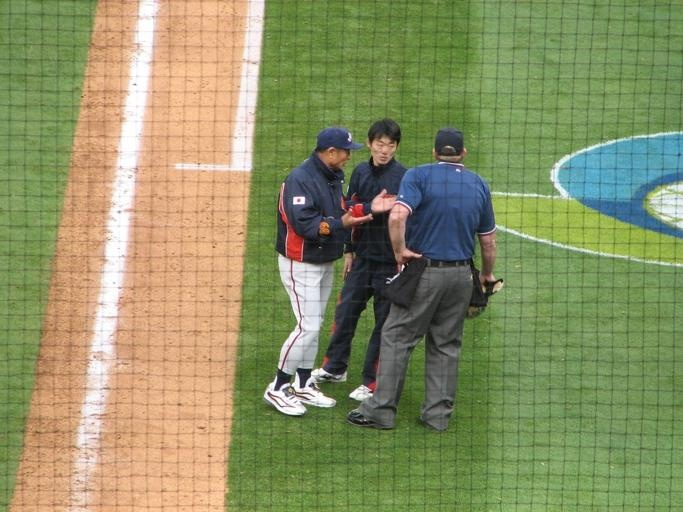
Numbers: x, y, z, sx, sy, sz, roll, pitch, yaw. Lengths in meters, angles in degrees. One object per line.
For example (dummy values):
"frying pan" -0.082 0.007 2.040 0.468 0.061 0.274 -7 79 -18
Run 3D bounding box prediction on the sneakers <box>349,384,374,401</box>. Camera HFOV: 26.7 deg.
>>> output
"sneakers" 0.205 1.454 15.282 0.310 0.121 0.121 -4 5 6

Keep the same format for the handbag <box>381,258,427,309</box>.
"handbag" 0.645 0.269 14.671 0.187 0.502 0.407 32 -5 -33

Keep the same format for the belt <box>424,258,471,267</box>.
"belt" 1.107 0.076 14.664 0.476 0.097 0.054 4 5 -17

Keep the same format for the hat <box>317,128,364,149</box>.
"hat" -0.033 -1.212 14.934 0.409 0.173 0.239 -2 15 -4

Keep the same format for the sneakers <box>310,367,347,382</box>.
"sneakers" -0.150 1.296 15.537 0.414 0.157 0.139 1 45 -6

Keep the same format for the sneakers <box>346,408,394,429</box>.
"sneakers" 0.341 1.695 15.057 0.550 0.193 0.177 9 16 6
